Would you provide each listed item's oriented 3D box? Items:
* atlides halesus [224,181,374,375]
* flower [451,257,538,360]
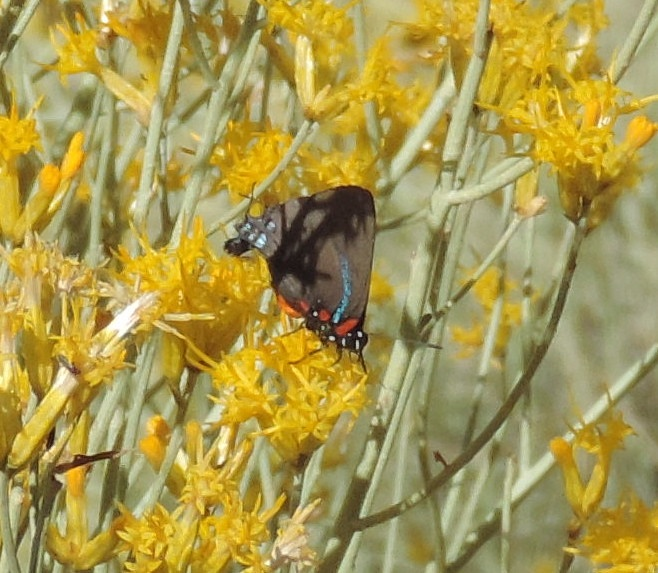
[{"bbox_3d":[-0.003,-0.008,0.733,0.098,0.073,0.103,48,-11,2],"label":"atlides halesus"},{"bbox_3d":[0.139,0.020,0.955,0.032,0.075,0.066,17,-18,-15],"label":"flower"}]
